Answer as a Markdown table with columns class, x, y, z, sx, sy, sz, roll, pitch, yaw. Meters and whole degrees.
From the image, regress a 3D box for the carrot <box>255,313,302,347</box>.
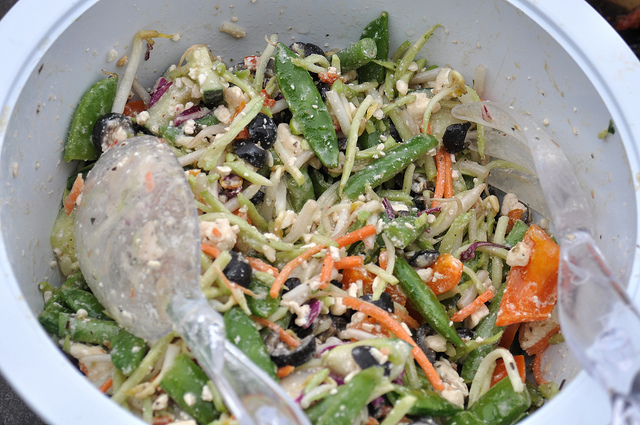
| class | x | y | z | sx | sy | sz | roll | pitch | yaw |
| --- | --- | --- | --- | --- | --- | --- | --- | --- | --- |
| carrot | -0.170 | 0.470 | 2.593 | 0.174 | 0.023 | 0.031 | 41 | 83 | -3 |

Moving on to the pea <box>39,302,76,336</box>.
| class | x | y | z | sx | sy | sz | roll | pitch | yaw |
| --- | --- | --- | --- | --- | --- | --- | --- | --- | --- |
| pea | -1.060 | 0.429 | 2.643 | 0.118 | 0.042 | 0.127 | 41 | 59 | -8 |

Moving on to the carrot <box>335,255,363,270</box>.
| class | x | y | z | sx | sy | sz | roll | pitch | yaw |
| --- | --- | --- | --- | --- | --- | --- | --- | --- | --- |
| carrot | 0.124 | 0.202 | 2.718 | 0.147 | 0.046 | 0.050 | -8 | 91 | -8 |

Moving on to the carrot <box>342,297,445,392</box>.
| class | x | y | z | sx | sy | sz | roll | pitch | yaw |
| --- | --- | --- | --- | --- | --- | --- | --- | --- | --- |
| carrot | 0.309 | 0.504 | 2.619 | 0.533 | 0.102 | 0.096 | 42 | 86 | 3 |

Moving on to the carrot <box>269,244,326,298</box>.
| class | x | y | z | sx | sy | sz | roll | pitch | yaw |
| --- | --- | --- | --- | --- | --- | --- | --- | --- | --- |
| carrot | -0.098 | 0.219 | 2.631 | 0.061 | 0.147 | 0.295 | 42 | 87 | 4 |

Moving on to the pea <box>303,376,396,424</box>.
| class | x | y | z | sx | sy | sz | roll | pitch | yaw |
| --- | --- | --- | --- | --- | --- | --- | --- | --- | --- |
| pea | 0.108 | 0.686 | 2.405 | 0.341 | 0.244 | 0.126 | -26 | 85 | -2 |

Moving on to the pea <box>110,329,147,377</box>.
| class | x | y | z | sx | sy | sz | roll | pitch | yaw |
| --- | --- | --- | --- | --- | --- | --- | --- | --- | --- |
| pea | -0.743 | 0.536 | 2.570 | 0.143 | 0.087 | 0.177 | -27 | 86 | -2 |

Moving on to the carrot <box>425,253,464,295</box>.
| class | x | y | z | sx | sy | sz | roll | pitch | yaw |
| --- | --- | --- | --- | --- | --- | --- | --- | --- | --- |
| carrot | 0.546 | 0.245 | 2.811 | 0.114 | 0.172 | 0.147 | -15 | 113 | -40 |
